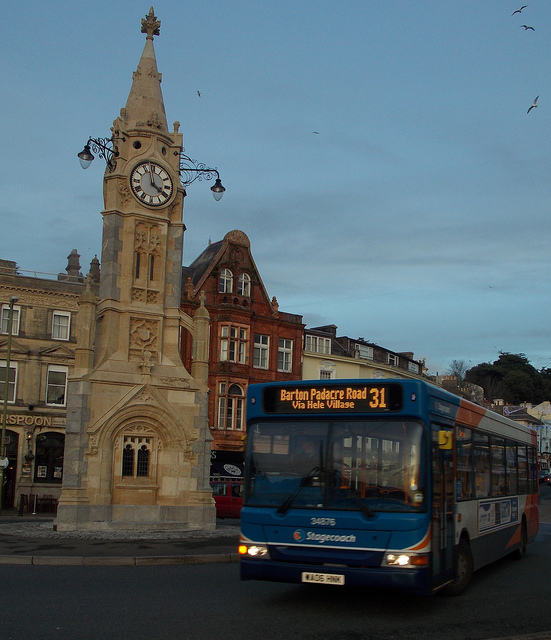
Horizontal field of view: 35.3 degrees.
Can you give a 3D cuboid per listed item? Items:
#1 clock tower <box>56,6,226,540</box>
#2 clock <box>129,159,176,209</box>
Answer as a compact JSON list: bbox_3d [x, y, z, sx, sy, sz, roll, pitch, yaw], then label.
[{"bbox_3d":[-3.744,-1.972,24.199,3.971,15.163,1.186,7,-14,-35],"label":"clock tower"},{"bbox_3d":[-3.590,-3.887,24.795,0.155,1.456,1.554,-15,-14,43],"label":"clock"}]
